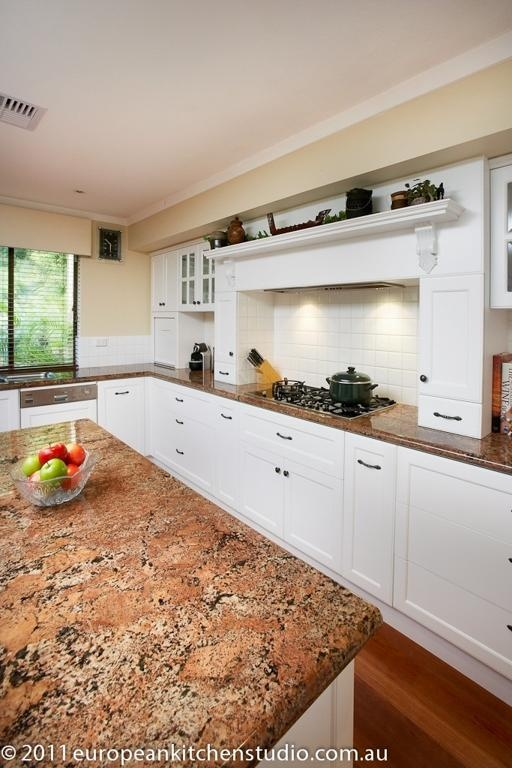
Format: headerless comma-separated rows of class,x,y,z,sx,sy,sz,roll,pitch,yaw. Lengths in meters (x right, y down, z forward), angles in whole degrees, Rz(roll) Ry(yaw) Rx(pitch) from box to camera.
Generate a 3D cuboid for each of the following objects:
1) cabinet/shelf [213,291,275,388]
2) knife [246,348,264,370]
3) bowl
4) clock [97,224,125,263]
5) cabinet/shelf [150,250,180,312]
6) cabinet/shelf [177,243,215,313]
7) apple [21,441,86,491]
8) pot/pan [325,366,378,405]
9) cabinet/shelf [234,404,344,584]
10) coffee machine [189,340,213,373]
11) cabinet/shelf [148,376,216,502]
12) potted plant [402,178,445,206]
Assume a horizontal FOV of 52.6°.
cabinet/shelf,-0.080,-0.306,3.397,0.379,0.595,0.307,1,11,0
knife,-0.003,-0.162,3.323,0.083,0.136,0.031,-11,-1,-20
bowl,-0.535,0.249,1.367,0.199,0.102,0.206,-1,18,0
clock,-1.259,-1.202,4.423,0.028,0.388,0.333,4,5,39
cabinet/shelf,-0.745,-0.892,4.580,0.229,0.488,0.474,-7,9,-40
cabinet/shelf,-0.384,-0.796,3.943,0.486,0.468,0.164,4,5,44
apple,-0.508,0.198,1.323,0.111,0.078,0.109,-6,3,-39
pot/pan,0.469,-0.020,2.534,0.171,0.158,0.222,-1,3,-40
cabinet/shelf,0.296,0.477,2.724,0.434,0.748,0.794,-11,16,-39
coffee machine,-0.459,-0.221,4.291,0.222,0.315,0.196,3,-4,-36
cabinet/shelf,-0.404,0.355,3.785,0.825,0.697,0.415,14,16,43
potted plant,0.658,-0.736,2.040,0.154,0.114,0.157,-2,7,-11
